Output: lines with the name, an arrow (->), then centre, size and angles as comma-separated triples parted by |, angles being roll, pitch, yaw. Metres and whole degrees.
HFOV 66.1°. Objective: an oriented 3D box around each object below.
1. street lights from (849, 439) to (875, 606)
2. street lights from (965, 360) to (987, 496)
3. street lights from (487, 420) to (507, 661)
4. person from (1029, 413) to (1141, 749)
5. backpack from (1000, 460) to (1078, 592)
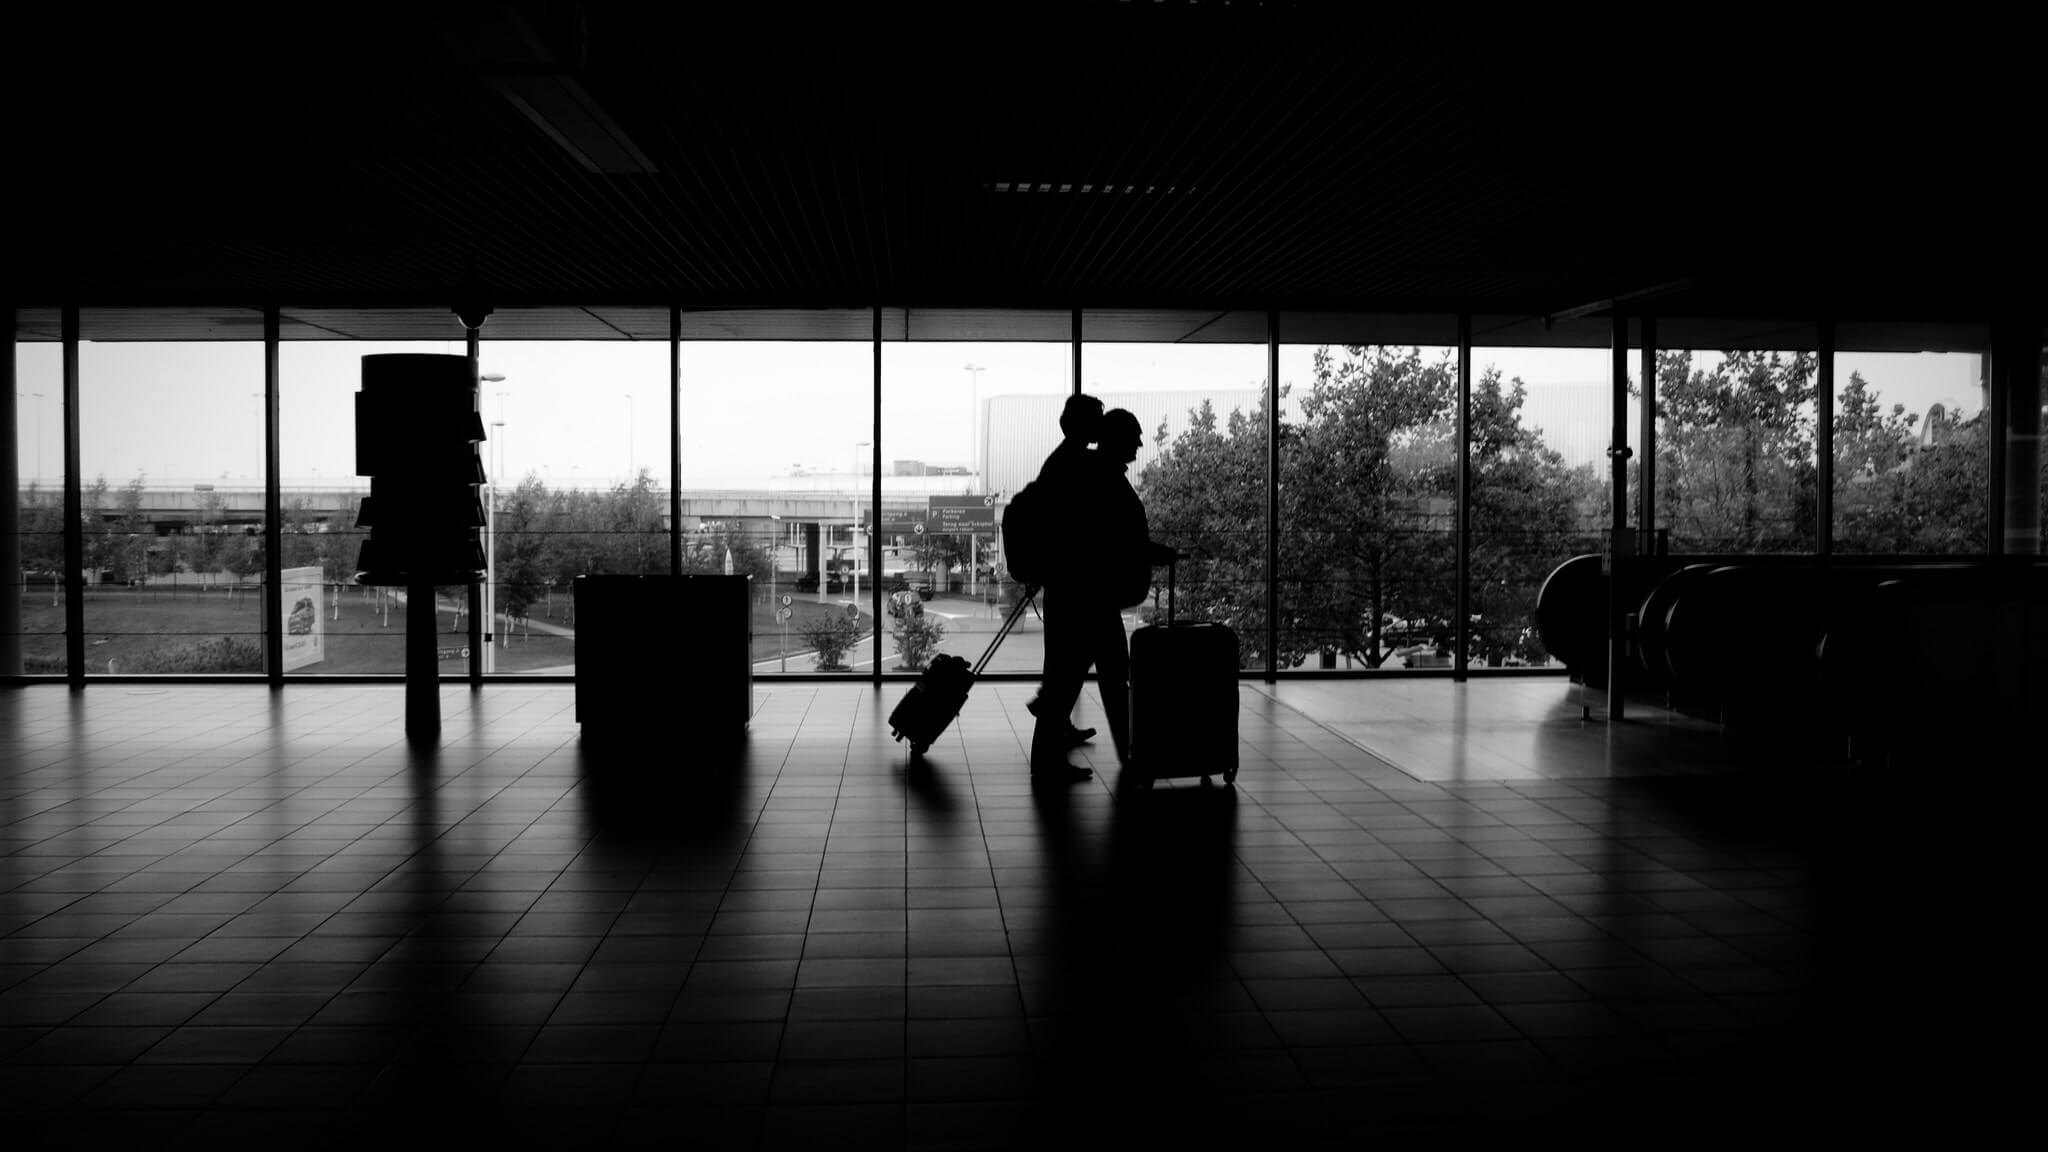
street lights -> -1.513, -0.483, 14.565 | 0.211, 1.571, 0.205 | 1, 5, -6
street lights -> -0.479, -1.477, 15.026 | 0.194, 1.164, 0.168 | 1, 5, -7
street lights -> -4.905, -0.299, 14.661 | 0.144, 2.325, 0.674 | 0, 5, -18
person -> 0.486, 0.070, 11.200 | 0.804, 2.465, 0.493 | 2, 5, 2
backpack -> 0.079, -0.370, 11.186 | 0.268, 0.792, 0.646 | 4, 7, -44
